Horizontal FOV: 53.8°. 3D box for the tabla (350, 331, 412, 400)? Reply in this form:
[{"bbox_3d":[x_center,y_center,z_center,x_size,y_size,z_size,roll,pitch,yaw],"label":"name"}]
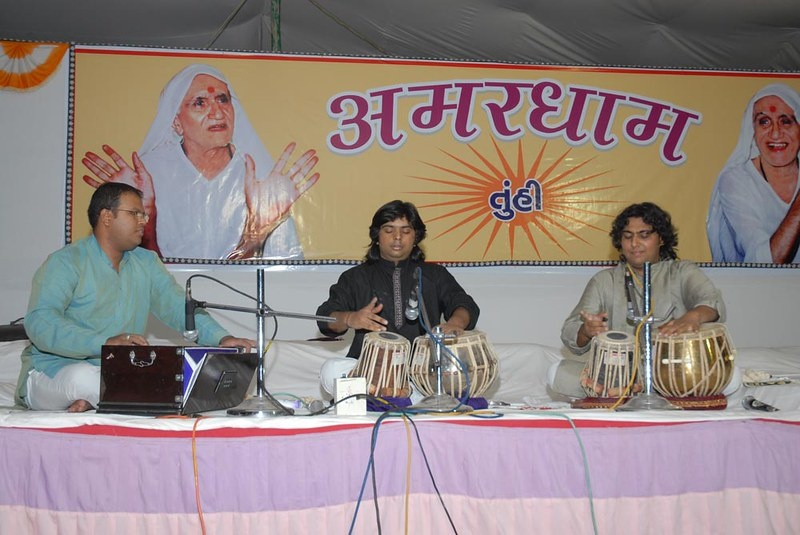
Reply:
[{"bbox_3d":[-0.094,0.626,5.296,0.401,0.399,0.395,14,-4,-31],"label":"tabla"}]

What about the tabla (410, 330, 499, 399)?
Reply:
[{"bbox_3d":[0.382,0.628,5.236,0.442,0.337,0.471,-2,-7,5],"label":"tabla"}]

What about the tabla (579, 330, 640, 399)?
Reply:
[{"bbox_3d":[1.350,0.613,5.069,0.379,0.412,0.384,0,1,-2],"label":"tabla"}]

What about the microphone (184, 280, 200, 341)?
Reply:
[{"bbox_3d":[-1.269,0.251,4.815,0.078,0.399,0.528,2,-5,-15],"label":"microphone"}]

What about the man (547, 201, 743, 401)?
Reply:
[{"bbox_3d":[1.742,0.241,5.611,1.182,1.381,1.078,-3,3,22],"label":"man"}]

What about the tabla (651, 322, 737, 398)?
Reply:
[{"bbox_3d":[1.866,0.584,5.115,0.472,0.422,0.465,0,-6,-38],"label":"tabla"}]

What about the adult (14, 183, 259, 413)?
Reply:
[{"bbox_3d":[-1.977,0.321,5.766,1.728,1.736,1.306,-2,-8,17],"label":"adult"}]

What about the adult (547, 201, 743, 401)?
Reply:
[{"bbox_3d":[1.746,0.231,5.660,1.168,1.379,0.983,-2,5,14],"label":"adult"}]

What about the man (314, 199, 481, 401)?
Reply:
[{"bbox_3d":[-0.015,0.334,5.964,1.127,1.595,1.021,-3,16,-19],"label":"man"}]

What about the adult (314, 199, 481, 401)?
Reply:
[{"bbox_3d":[0.003,0.337,5.910,1.030,1.566,1.045,-4,13,-24],"label":"adult"}]
